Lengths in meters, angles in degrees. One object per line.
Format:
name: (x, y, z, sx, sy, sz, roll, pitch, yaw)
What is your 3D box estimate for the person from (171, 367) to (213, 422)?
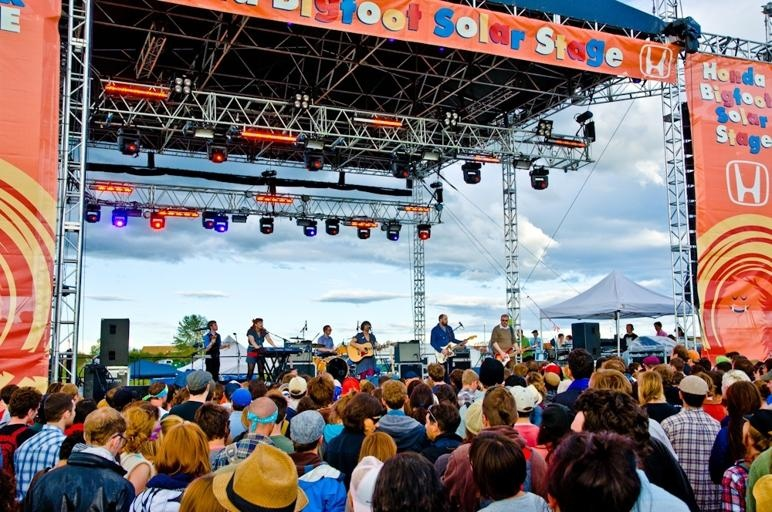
person: (-2.870, 2.171, 13.128, 0.867, 0.852, 0.569, 3, 5, -3)

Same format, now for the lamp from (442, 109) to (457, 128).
lamp: (1.842, -3.985, 24.880, 0.494, 0.418, 0.309, 1, -11, -10)

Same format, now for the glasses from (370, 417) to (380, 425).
glasses: (-0.156, 2.265, 11.972, 0.099, 0.127, 0.048, 4, -38, 32)

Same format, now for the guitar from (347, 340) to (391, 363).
guitar: (-0.436, 2.468, 22.257, 1.289, 0.562, 1.110, 4, -12, -25)

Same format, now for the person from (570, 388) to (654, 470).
person: (2.955, 2.293, 11.307, 0.977, 1.072, 0.960, -11, -22, 28)

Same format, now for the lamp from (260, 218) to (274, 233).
lamp: (-4.039, -1.040, 29.308, 0.480, 0.527, 0.910, 1, -11, -9)

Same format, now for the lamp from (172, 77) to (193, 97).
lamp: (-5.165, -4.358, 22.066, 0.442, 0.397, 0.338, 3, -11, -17)

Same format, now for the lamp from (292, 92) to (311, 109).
lamp: (-2.217, -4.224, 23.223, 0.392, 0.507, 0.514, -6, -12, 26)

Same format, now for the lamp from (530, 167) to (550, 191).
lamp: (4.536, -2.278, 25.602, 0.489, 0.813, 0.759, 2, -11, -12)

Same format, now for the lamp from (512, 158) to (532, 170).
lamp: (3.968, -2.730, 25.520, 0.556, 0.361, 0.392, 1, -2, -8)

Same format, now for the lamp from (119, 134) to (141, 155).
lamp: (-7.306, -3.162, 24.717, 0.633, 0.796, 0.651, -3, 0, -24)

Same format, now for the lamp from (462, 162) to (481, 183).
lamp: (2.529, -2.515, 25.897, 0.570, 0.708, 0.354, 0, -11, -2)

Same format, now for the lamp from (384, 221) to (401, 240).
lamp: (0.217, -0.907, 30.336, 0.638, 0.718, 0.616, 1, -4, -11)

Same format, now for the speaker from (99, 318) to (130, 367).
speaker: (-5.944, 1.886, 19.060, 0.584, 1.058, 0.283, 4, -12, -23)

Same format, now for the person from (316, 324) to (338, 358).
person: (-1.488, 2.085, 21.535, 0.552, 0.811, 1.516, 0, -11, -5)

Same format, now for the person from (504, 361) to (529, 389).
person: (2.175, 1.992, 14.533, 0.274, 0.207, 0.763, -18, 5, -1)

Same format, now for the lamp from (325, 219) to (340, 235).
lamp: (-1.834, -1.014, 29.808, 0.476, 0.501, 0.381, 4, -12, -23)

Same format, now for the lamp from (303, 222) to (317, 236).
lamp: (-2.595, -0.954, 29.686, 0.545, 0.653, 0.448, 0, -1, -2)

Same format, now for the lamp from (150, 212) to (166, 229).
lamp: (-7.342, -1.139, 28.145, 0.366, 0.508, 0.611, -7, -13, 31)

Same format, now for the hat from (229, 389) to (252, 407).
hat: (-2.176, 2.144, 13.035, 0.256, 0.176, 0.327, -1, 34, -38)

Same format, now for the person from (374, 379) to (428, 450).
person: (0.201, 2.262, 12.194, 0.767, 0.955, 0.500, -2, -13, -10)

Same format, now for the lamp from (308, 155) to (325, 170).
lamp: (-2.045, -2.719, 25.007, 0.436, 0.399, 0.411, 0, 6, -28)

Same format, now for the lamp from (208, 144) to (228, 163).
lamp: (-4.858, -3.002, 25.059, 0.628, 0.612, 0.344, 4, -10, -43)

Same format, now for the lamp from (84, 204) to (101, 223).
lamp: (-9.103, -1.386, 27.077, 0.426, 0.443, 0.766, 3, -11, -20)

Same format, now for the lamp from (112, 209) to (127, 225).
lamp: (-8.422, -1.248, 27.383, 0.480, 0.612, 0.337, 0, -10, -14)

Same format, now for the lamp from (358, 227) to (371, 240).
lamp: (-0.795, -0.829, 30.625, 0.389, 0.372, 0.589, -3, -11, 13)

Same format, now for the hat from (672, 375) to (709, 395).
hat: (4.300, 1.829, 12.292, 0.404, 0.191, 0.531, 3, 4, 14)

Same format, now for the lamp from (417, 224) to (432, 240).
lamp: (1.296, -0.865, 30.240, 0.526, 0.678, 0.678, 1, -5, -3)

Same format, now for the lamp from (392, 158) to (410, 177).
lamp: (0.448, -2.813, 27.293, 0.558, 0.641, 0.360, 4, -11, -12)
